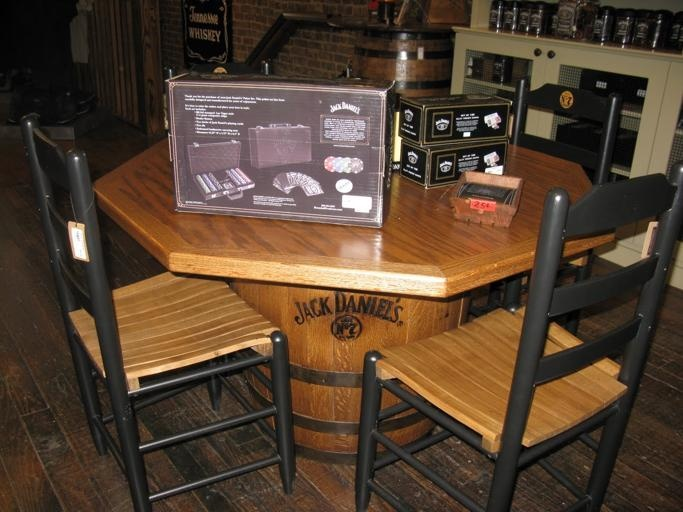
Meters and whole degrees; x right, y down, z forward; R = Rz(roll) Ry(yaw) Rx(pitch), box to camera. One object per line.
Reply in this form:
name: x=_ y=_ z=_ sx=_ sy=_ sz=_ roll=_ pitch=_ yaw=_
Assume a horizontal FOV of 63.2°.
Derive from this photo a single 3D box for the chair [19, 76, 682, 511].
chair: x=0.193 y=0.065 z=2.006 sx=2.086 sy=1.292 sz=1.163 roll=-16 pitch=36 yaw=-27
